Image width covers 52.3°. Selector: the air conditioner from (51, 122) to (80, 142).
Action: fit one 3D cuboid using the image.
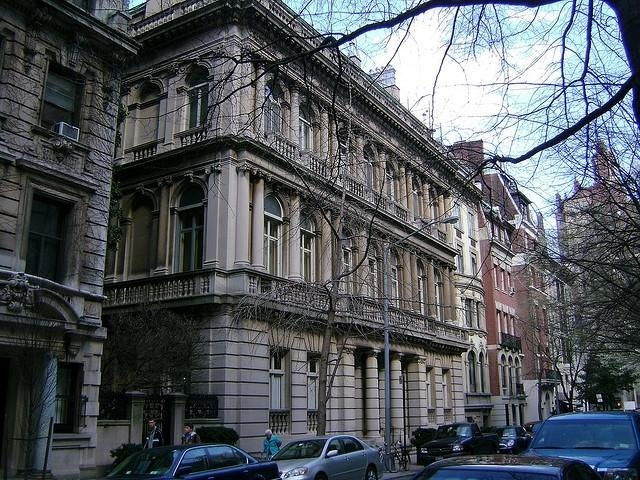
[{"bbox_3d":[-8.832,-3.705,22.435,0.586,0.594,0.882,-9,-13,27],"label":"air conditioner"}]
